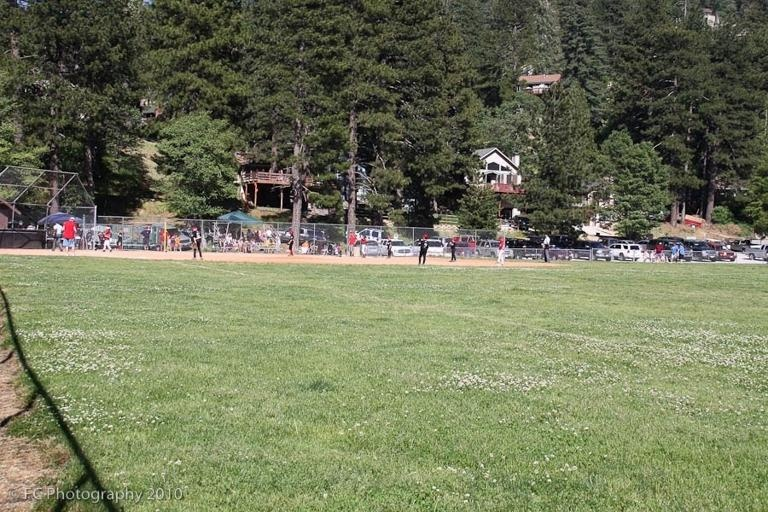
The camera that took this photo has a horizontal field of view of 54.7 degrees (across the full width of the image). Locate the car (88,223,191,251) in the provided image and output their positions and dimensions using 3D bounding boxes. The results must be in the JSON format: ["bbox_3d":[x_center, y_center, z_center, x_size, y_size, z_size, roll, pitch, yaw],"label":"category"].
[{"bbox_3d":[-20.113,-1.565,60.308,7.699,2.007,2.706,0,4,-22],"label":"car"}]
